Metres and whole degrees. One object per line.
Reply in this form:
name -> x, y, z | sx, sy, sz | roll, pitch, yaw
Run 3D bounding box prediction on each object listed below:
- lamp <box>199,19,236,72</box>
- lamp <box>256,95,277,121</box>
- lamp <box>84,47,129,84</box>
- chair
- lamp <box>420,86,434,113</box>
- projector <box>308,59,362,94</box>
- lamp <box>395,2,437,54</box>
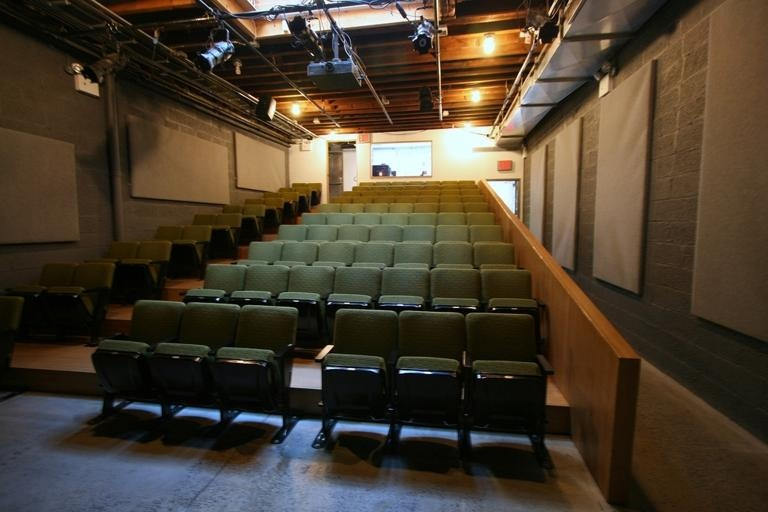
lamp -> -1.948, -2.507, 5.747 | 0.288, 0.572, 0.326 | 32, -12, 14
lamp -> -1.863, -2.374, 7.622 | 0.267, 0.383, 0.246 | 1, -2, -17
lamp -> -3.331, -2.322, 5.795 | 0.254, 0.496, 0.465 | 0, -2, 4
chair -> -0.289, 0.521, 5.429 | 4.034, 2.364, 3.199 | 0, -2, 8
lamp -> 0.684, -2.576, 7.786 | 0.188, 0.410, 0.415 | 0, -2, 6
projector -> -0.582, -2.242, 5.902 | 0.527, 0.266, 0.479 | 0, -2, 8
lamp -> 0.402, -2.645, 5.761 | 0.502, 0.342, 0.649 | 24, -32, 21
